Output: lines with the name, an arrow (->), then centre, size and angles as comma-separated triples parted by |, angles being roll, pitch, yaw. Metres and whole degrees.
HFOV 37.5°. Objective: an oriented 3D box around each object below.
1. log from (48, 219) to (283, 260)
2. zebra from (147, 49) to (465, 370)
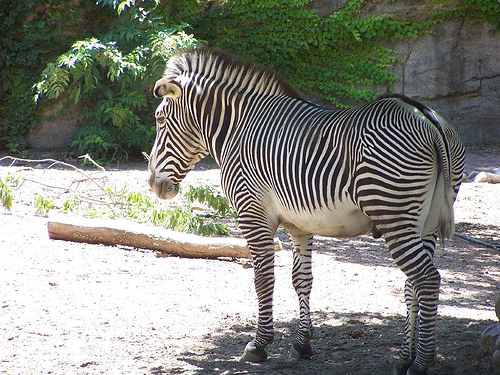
log -> -1.216, 0.701, 9.777 | 1.955, 0.285, 0.304 | 8, 28, -4
zebra -> 0.495, 0.413, 8.511 | 4.469, 4.020, 1.444 | 2, 3, 35
